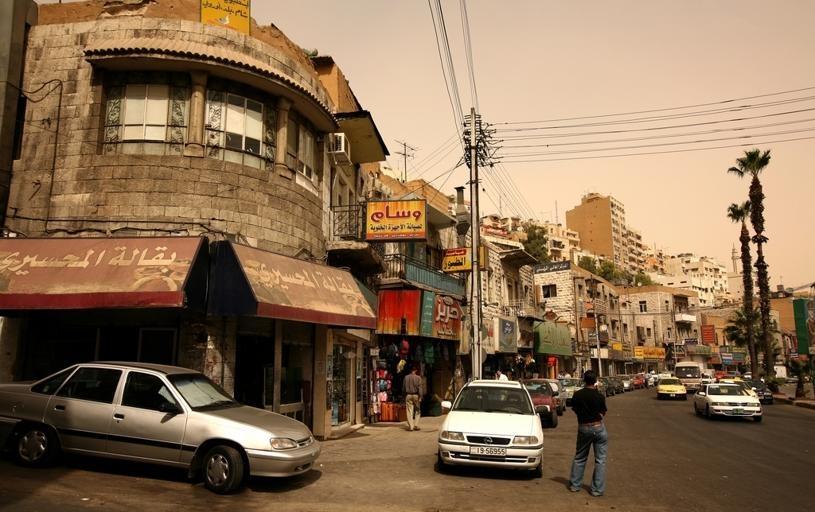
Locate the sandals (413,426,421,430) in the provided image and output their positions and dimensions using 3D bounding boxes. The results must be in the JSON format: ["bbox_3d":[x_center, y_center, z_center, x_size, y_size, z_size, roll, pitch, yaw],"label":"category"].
[{"bbox_3d":[0.338,6.532,26.643,0.178,0.110,0.254,-23,-25,31],"label":"sandals"}]

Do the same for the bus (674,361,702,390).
[{"bbox_3d":[22.153,9.419,55.448,1.799,1.801,3.784,-5,-20,17],"label":"bus"}]

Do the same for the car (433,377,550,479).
[{"bbox_3d":[2.276,4.853,19.613,2.796,2.425,2.211,5,-4,-2],"label":"car"}]

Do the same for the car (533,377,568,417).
[{"bbox_3d":[6.728,6.600,33.217,1.175,1.151,2.606,-3,-20,12],"label":"car"}]

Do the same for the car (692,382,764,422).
[{"bbox_3d":[13.811,6.429,31.026,1.388,0.939,3.052,0,-21,10],"label":"car"}]
